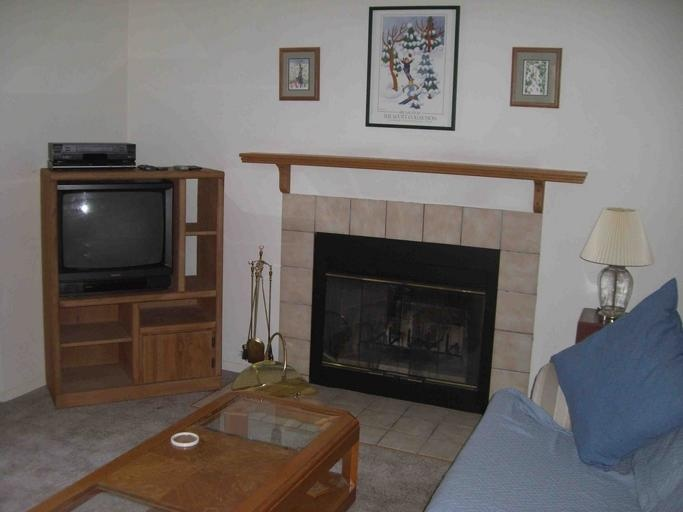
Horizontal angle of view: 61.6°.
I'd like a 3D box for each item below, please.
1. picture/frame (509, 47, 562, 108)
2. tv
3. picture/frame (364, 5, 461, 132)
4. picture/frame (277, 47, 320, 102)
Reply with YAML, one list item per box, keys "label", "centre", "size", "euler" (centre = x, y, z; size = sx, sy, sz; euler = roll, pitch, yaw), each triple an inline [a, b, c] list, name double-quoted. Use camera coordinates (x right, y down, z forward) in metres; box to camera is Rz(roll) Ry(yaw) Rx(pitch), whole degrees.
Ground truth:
- label: "picture/frame"
  centre: [1.145, -1.047, 3.329]
  size: [0.348, 0.416, 0.028]
  euler: [2, 8, 15]
- label: "tv"
  centre: [-1.377, -0.135, 3.793]
  size: [0.924, 0.899, 0.610]
  euler: [-2, 5, -26]
- label: "picture/frame"
  centre: [0.459, -1.178, 3.519]
  size: [0.719, 0.887, 0.032]
  euler: [5, 9, 19]
- label: "picture/frame"
  centre: [-0.270, -1.202, 3.746]
  size: [0.347, 0.397, 0.030]
  euler: [1, 7, 10]
